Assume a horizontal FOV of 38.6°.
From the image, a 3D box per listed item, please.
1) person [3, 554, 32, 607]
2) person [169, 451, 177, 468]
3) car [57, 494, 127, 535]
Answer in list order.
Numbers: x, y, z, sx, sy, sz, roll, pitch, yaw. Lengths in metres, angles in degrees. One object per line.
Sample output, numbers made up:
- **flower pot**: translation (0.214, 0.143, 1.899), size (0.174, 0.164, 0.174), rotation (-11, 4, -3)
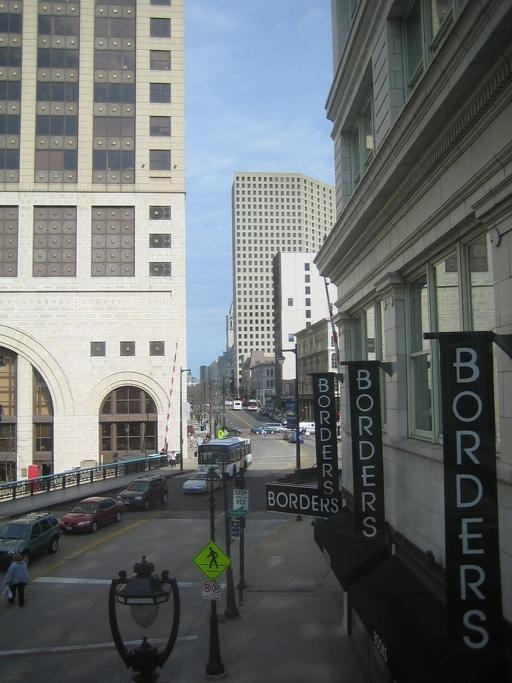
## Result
- **person**: translation (-5.956, 5.916, 18.293), size (0.579, 1.399, 1.753), rotation (0, -6, -18)
- **person**: translation (-6.326, 9.084, 55.932), size (0.597, 0.662, 1.937), rotation (2, 41, -6)
- **car**: translation (-6.499, 6.922, 29.078), size (1.158, 1.145, 3.136), rotation (-4, -6, 16)
